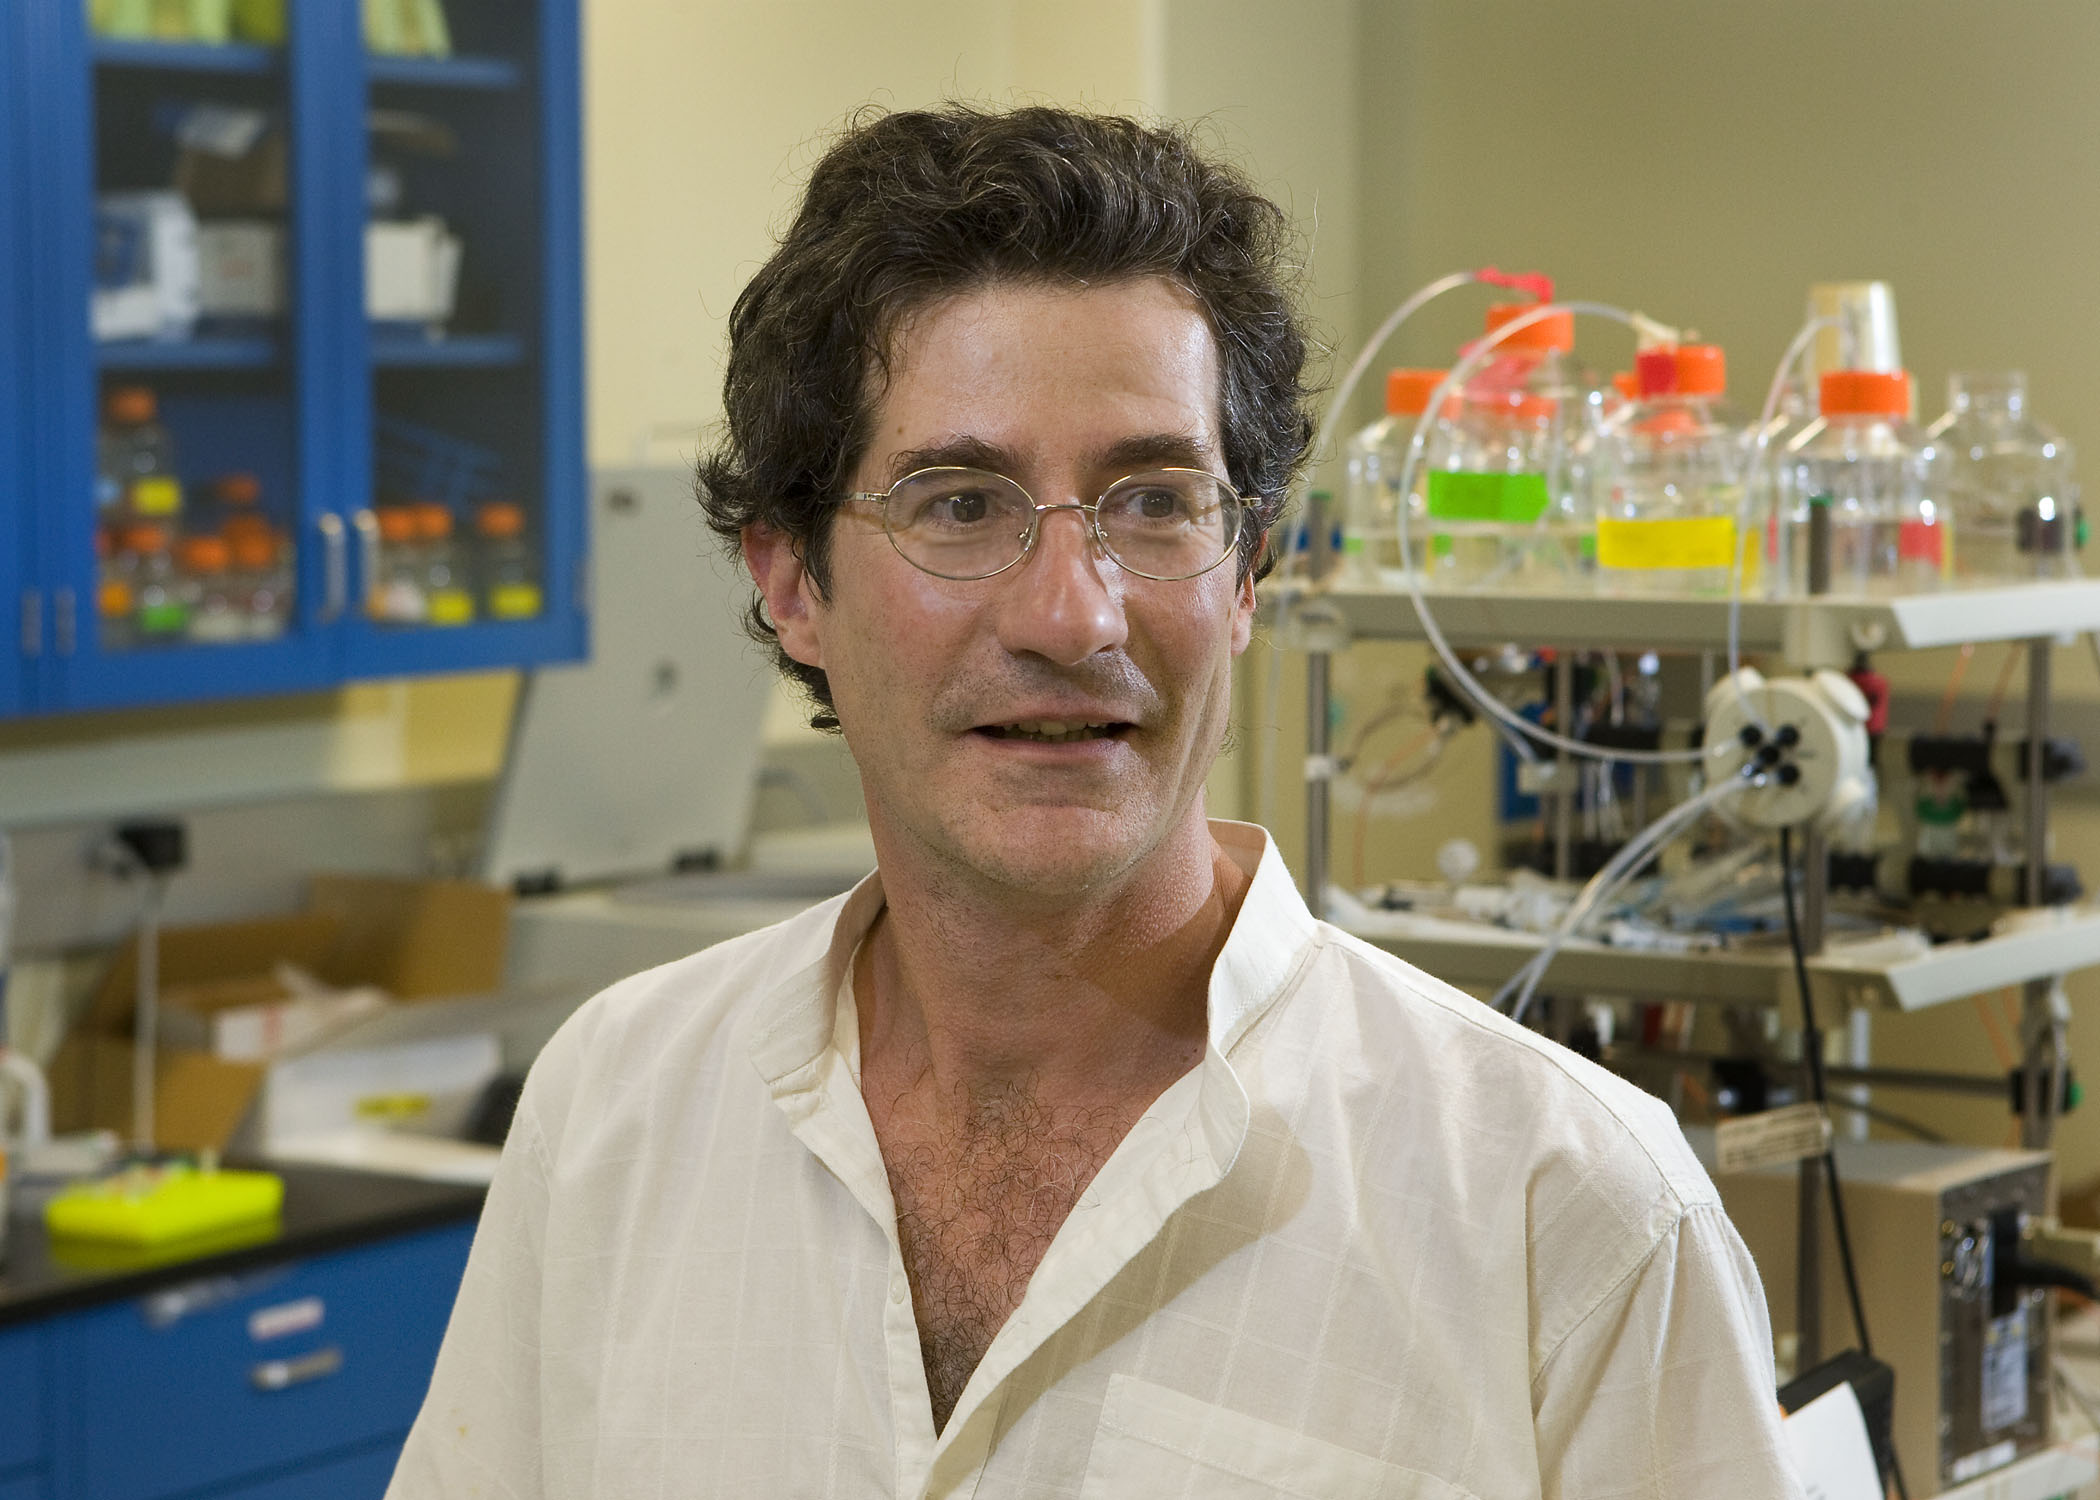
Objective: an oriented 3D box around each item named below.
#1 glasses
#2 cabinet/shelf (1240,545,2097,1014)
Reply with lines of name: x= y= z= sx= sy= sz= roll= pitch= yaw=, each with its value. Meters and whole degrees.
glasses: x=-0.012 y=-0.181 z=1.854 sx=0.290 sy=0.099 sz=0.098 roll=-1 pitch=1 yaw=-5
cabinet/shelf: x=0.750 y=-0.140 z=2.713 sx=0.709 sy=0.615 sz=0.583 roll=2 pitch=4 yaw=41
